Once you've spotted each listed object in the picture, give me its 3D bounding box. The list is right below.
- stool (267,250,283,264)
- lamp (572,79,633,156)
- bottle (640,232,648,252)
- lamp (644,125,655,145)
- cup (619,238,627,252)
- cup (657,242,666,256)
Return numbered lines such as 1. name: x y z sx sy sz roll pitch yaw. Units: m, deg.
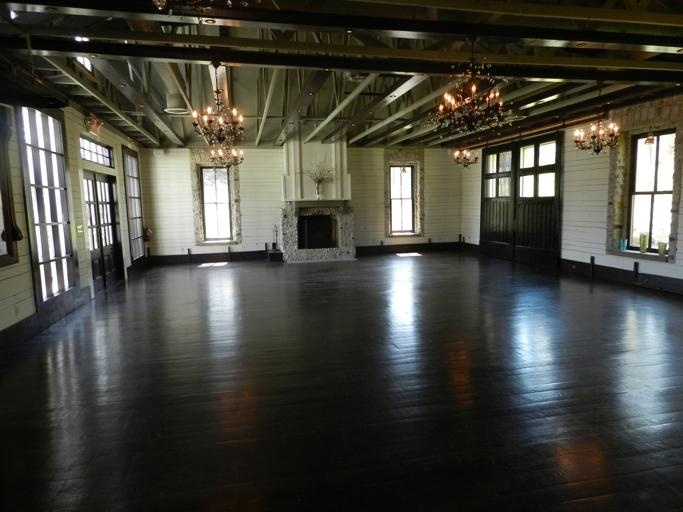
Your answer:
1. stool: -1.869 0.024 13.492 0.373 0.224 0.357 -1 4 1
2. lamp: 4.941 -2.594 9.034 0.750 1.101 0.621 -5 9 -3
3. bottle: 5.915 -0.265 9.241 0.110 0.361 0.193 -4 11 -13
4. lamp: 5.890 -2.299 8.963 0.155 0.340 0.437 5 11 32
5. cup: 5.747 -0.239 9.583 0.145 0.202 0.121 4 11 27
6. cup: 5.993 -0.135 8.775 0.121 0.241 0.201 4 11 27
